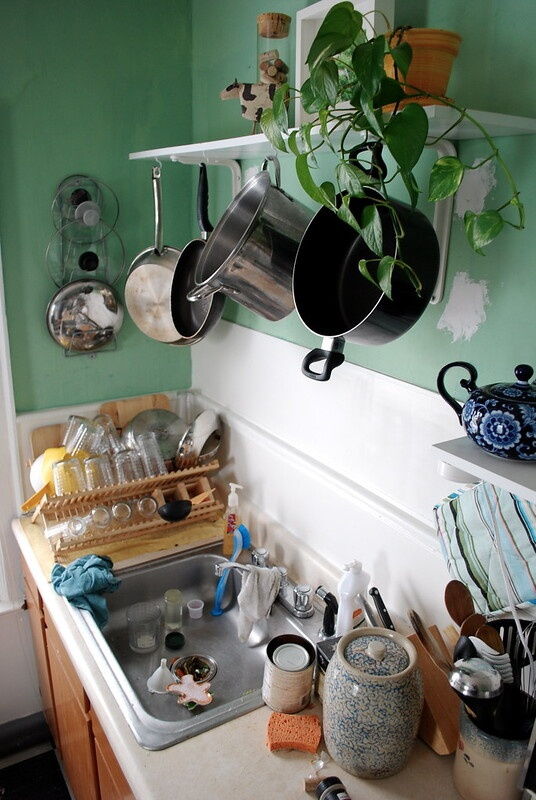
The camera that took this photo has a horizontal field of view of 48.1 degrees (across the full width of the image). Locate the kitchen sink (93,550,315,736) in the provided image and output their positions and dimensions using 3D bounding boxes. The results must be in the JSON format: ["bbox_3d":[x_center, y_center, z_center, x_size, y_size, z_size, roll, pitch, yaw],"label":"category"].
[{"bbox_3d":[-0.171,0.527,1.294,0.248,0.118,0.328,-18,31,-15],"label":"kitchen sink"}]

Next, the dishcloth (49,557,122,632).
[{"bbox_3d":[-0.391,0.411,1.295,0.052,0.129,0.159,-9,42,23],"label":"dishcloth"}]

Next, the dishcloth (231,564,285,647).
[{"bbox_3d":[-0.016,0.407,1.251,0.080,0.118,0.138,1,22,4],"label":"dishcloth"}]

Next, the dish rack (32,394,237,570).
[{"bbox_3d":[-0.312,0.233,1.490,0.429,0.182,0.311,-17,52,-14],"label":"dish rack"}]
